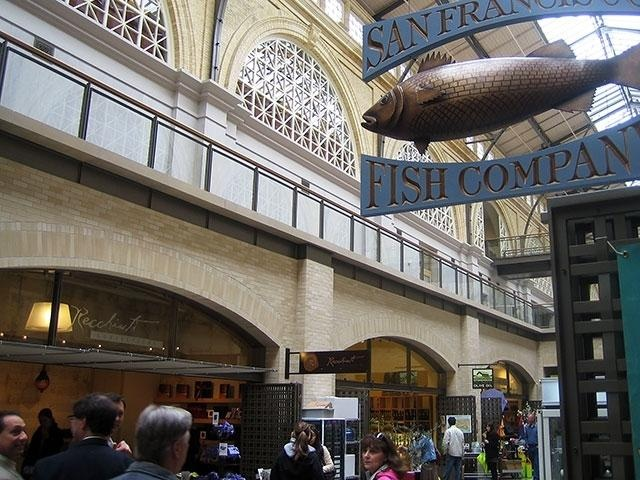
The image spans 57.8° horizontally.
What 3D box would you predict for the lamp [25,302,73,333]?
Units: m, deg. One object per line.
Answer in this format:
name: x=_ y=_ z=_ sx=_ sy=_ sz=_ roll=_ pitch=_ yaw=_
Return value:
lamp: x=-5.128 y=1.513 z=11.019 sx=0.820 sy=0.559 sz=0.820 roll=-1 pitch=-8 yaw=-17
